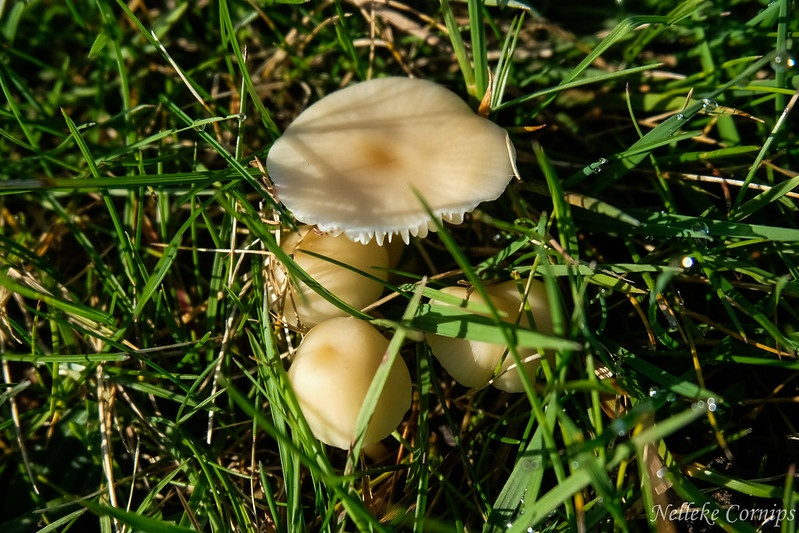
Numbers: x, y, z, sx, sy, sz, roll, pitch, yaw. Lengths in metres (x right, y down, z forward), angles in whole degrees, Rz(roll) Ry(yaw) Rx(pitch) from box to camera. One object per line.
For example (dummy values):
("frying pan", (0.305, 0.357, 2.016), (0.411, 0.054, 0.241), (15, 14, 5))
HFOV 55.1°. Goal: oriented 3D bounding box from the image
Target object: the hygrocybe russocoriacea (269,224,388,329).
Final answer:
("hygrocybe russocoriacea", (-0.221, 0.015, 2.508), (0.359, 0.202, 0.314), (-36, 65, -24))
